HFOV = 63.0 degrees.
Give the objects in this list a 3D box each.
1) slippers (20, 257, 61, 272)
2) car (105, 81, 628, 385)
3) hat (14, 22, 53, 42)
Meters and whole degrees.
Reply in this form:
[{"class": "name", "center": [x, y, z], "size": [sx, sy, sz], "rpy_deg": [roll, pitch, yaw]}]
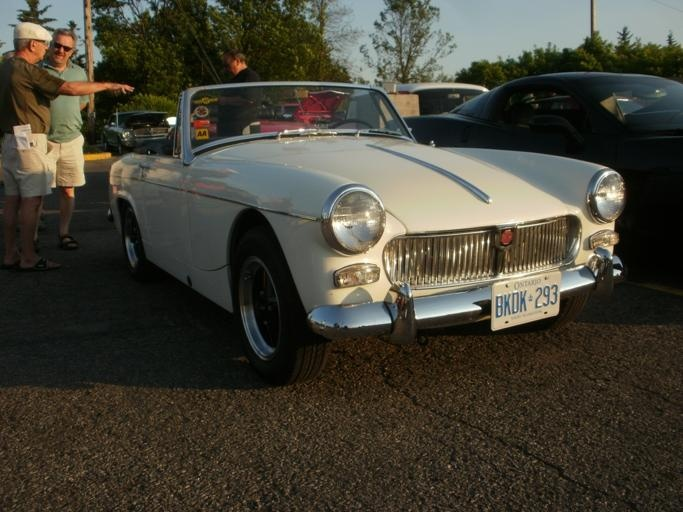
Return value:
[{"class": "slippers", "center": [-3.115, 0.070, 5.763], "size": [0.349, 0.132, 0.145], "rpy_deg": [-2, 8, -26]}, {"class": "car", "center": [-0.004, -0.342, 3.799], "size": [3.351, 1.719, 1.932], "rpy_deg": [11, 18, 39]}, {"class": "hat", "center": [-3.121, -2.267, 5.610], "size": [0.330, 0.230, 0.450], "rpy_deg": [-10, 17, -29]}]
